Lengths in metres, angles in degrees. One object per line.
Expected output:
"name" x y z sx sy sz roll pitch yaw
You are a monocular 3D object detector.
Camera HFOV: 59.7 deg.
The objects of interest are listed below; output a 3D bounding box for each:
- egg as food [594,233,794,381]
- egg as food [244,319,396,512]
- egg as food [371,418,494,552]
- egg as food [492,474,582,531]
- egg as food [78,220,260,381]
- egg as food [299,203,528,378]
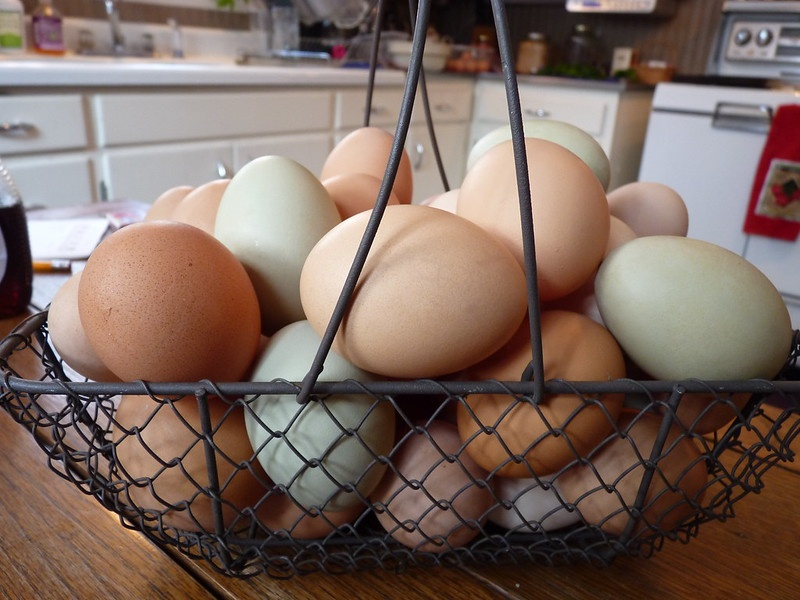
"egg as food" 0.236 0.021 0.572 0.121 0.104 0.080 13 -19 6
"egg as food" -0.065 0.098 0.533 0.090 0.101 0.135 7 51 -18
"egg as food" 0.028 0.157 0.561 0.086 0.120 0.093 -4 25 9
"egg as food" 0.103 0.152 0.526 0.041 0.033 0.045 -4 12 4
"egg as food" -0.173 0.005 0.526 0.124 0.112 0.084 12 25 19
"egg as food" 0.019 -0.006 0.549 0.163 0.148 0.136 11 -8 -1
